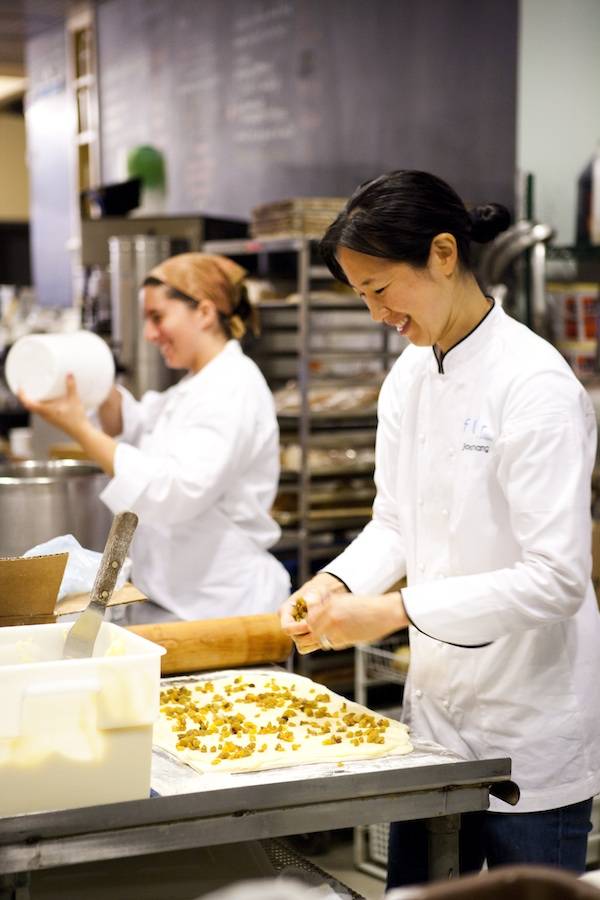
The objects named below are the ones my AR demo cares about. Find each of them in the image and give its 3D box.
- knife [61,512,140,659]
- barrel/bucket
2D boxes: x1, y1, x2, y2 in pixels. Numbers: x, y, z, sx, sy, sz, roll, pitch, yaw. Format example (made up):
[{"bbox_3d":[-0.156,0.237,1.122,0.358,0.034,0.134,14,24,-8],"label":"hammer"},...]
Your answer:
[{"bbox_3d":[-0.248,0.178,1.228,0.065,0.232,0.027,18,2,4],"label":"knife"},{"bbox_3d":[-0.499,-0.165,2.060,0.219,0.171,0.168,-3,6,-21],"label":"barrel/bucket"}]
